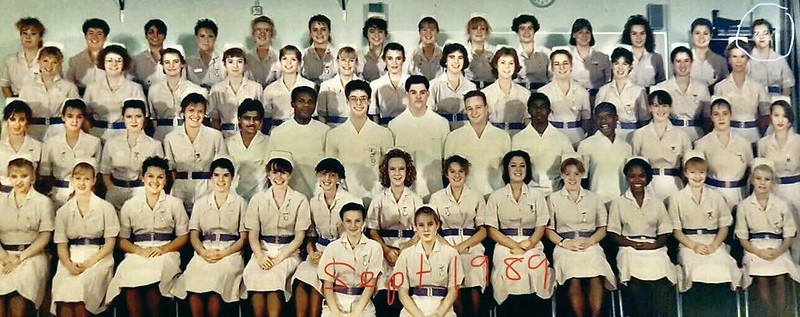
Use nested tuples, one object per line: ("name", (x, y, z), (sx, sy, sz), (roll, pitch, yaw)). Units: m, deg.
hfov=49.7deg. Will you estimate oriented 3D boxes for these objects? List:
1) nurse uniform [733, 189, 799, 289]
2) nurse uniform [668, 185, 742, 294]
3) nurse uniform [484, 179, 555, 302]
("nurse uniform", (4.344, 0.999, 10.672), (0.850, 0.794, 1.069), (0, 47, 16))
("nurse uniform", (3.742, 0.980, 10.587), (0.786, 1.257, 0.384), (-2, 6, -6))
("nurse uniform", (1.460, 1.030, 10.509), (0.818, 1.380, 0.380), (-2, 6, 3))
